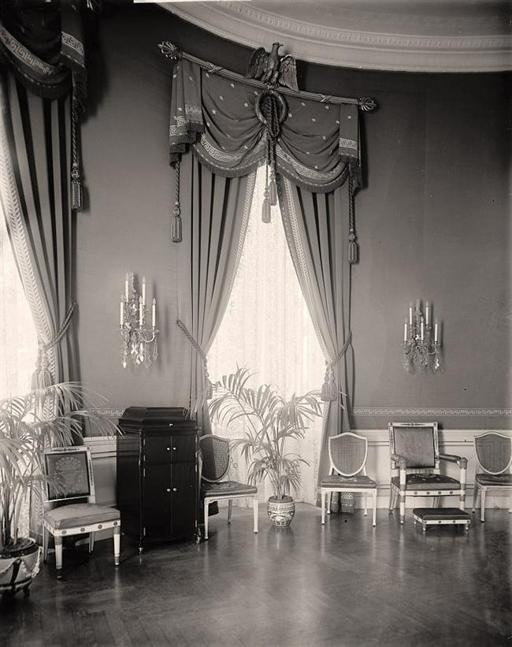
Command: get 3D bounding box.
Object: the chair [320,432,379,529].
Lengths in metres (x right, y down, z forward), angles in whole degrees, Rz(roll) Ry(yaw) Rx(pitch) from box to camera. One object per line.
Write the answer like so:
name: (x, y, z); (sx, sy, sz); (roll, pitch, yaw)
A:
chair: (0.819, 1.330, 5.747); (0.384, 0.899, 0.523); (-2, -10, 18)

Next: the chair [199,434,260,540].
chair: (-0.299, 1.289, 5.326); (0.365, 0.891, 0.459); (0, -10, -30)

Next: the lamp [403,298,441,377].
lamp: (1.586, 0.131, 6.343); (0.255, 0.749, 0.154); (0, 24, 24)

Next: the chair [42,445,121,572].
chair: (-1.194, 1.228, 4.426); (0.403, 0.903, 0.562); (0, -11, -27)

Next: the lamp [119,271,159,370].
lamp: (-0.998, -0.026, 5.469); (0.171, 0.789, 0.470); (-2, -4, 31)

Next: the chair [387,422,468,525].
chair: (1.547, 1.302, 5.912); (0.681, 0.804, 0.958); (-1, -5, 7)

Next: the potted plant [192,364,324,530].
potted plant: (0.026, 1.106, 5.599); (0.836, 1.525, 0.826); (-2, -21, -8)
